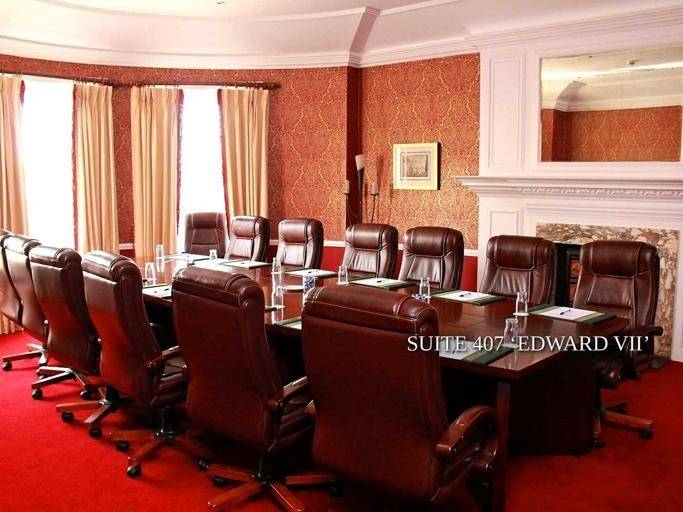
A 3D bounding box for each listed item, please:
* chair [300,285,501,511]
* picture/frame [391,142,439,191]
[{"bbox_3d":[0.200,0.508,2.635,0.928,1.273,0.986,2,6,32],"label":"chair"},{"bbox_3d":[1.012,-1.230,6.792,0.660,0.635,0.048,2,3,36],"label":"picture/frame"}]
